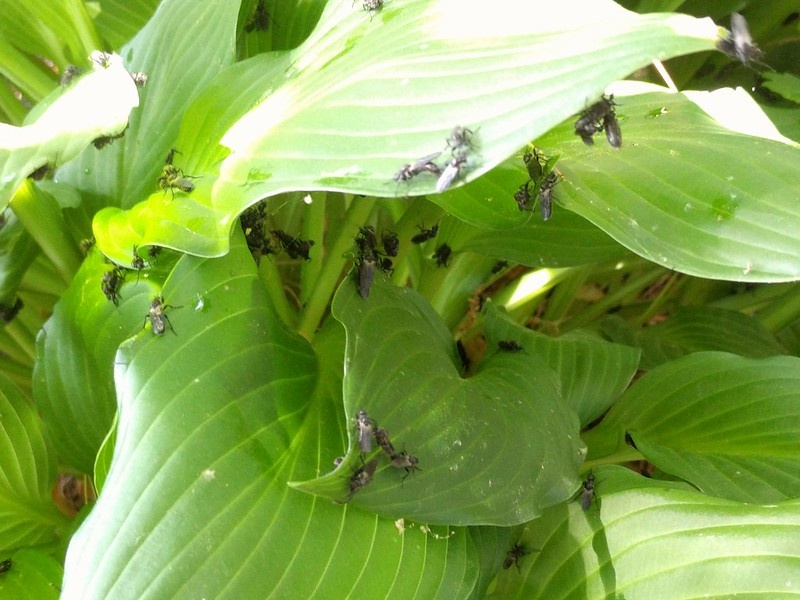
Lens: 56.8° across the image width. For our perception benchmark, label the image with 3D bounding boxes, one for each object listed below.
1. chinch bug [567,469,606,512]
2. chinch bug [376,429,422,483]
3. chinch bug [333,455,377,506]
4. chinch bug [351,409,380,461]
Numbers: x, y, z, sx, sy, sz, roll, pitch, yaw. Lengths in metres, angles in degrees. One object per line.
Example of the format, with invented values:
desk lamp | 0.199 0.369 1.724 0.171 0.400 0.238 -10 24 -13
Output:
chinch bug | 0.413 0.406 1.592 0.074 0.058 0.065 -29 30 -13
chinch bug | -0.001 0.282 1.381 0.069 0.097 0.027 -42 30 -14
chinch bug | -0.074 0.322 1.376 0.085 0.069 0.024 -40 47 -25
chinch bug | -0.062 0.236 1.323 0.020 0.075 0.053 -12 -15 38
